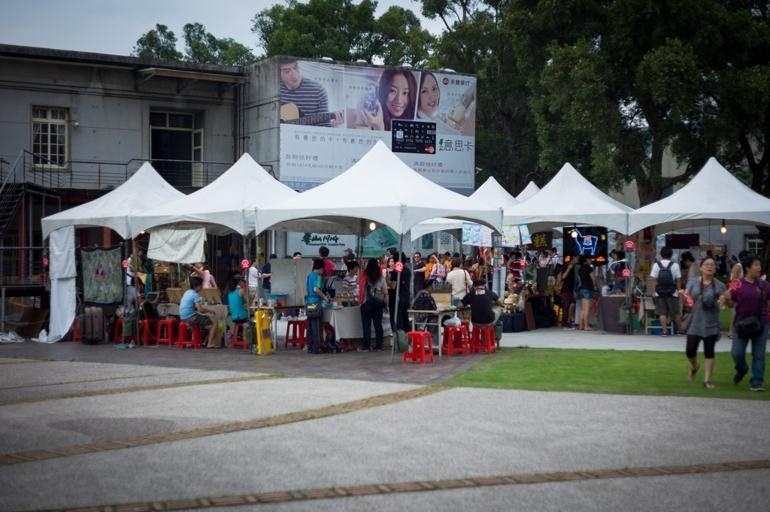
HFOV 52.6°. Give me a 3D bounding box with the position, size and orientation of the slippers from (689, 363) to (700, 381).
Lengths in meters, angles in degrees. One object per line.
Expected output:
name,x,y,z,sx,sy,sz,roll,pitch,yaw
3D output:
slippers,5.931,2.227,14.948,0.114,0.348,0.120,5,14,-8

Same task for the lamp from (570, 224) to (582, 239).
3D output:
lamp,5.865,-0.739,24.029,0.295,0.411,0.608,2,7,14

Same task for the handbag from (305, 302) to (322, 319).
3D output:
handbag,-1.707,1.321,18.696,0.481,0.497,0.322,0,-3,7

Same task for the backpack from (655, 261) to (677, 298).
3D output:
backpack,7.284,0.606,20.177,0.500,0.983,0.398,1,6,10

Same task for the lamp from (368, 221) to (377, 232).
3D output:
lamp,-0.373,-0.830,21.866,0.189,0.207,0.045,-2,6,24

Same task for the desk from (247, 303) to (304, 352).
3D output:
desk,-2.760,1.805,19.489,1.125,1.500,1.027,0,0,6

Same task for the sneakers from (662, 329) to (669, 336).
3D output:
sneakers,7.659,2.084,21.278,0.144,0.212,0.490,-3,-9,18

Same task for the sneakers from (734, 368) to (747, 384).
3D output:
sneakers,6.624,2.234,14.510,0.124,0.305,0.099,27,5,-38

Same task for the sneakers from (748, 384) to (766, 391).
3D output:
sneakers,6.756,2.346,14.064,0.312,0.140,0.227,-1,6,-7

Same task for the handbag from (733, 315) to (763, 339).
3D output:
handbag,6.471,1.253,13.851,0.418,0.338,0.165,-7,30,-16

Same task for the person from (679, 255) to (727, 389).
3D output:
person,5.997,1.192,14.676,0.711,2.406,1.332,3,7,23

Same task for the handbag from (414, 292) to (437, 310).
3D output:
handbag,0.869,1.047,17.767,0.544,0.406,0.353,1,4,10

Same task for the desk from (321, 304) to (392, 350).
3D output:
desk,-0.859,1.713,19.453,1.176,0.622,1.197,4,-7,-25

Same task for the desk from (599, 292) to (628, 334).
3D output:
desk,6.623,1.641,22.268,0.845,0.936,0.924,0,-4,4

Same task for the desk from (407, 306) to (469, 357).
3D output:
desk,1.292,1.725,18.226,0.991,0.926,1.820,-1,-2,16

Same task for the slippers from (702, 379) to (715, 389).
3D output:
slippers,5.965,2.364,14.390,0.123,0.088,0.207,-2,-6,-13

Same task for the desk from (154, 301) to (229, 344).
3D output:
desk,-4.928,1.704,20.403,1.207,0.998,1.269,-3,-7,38
